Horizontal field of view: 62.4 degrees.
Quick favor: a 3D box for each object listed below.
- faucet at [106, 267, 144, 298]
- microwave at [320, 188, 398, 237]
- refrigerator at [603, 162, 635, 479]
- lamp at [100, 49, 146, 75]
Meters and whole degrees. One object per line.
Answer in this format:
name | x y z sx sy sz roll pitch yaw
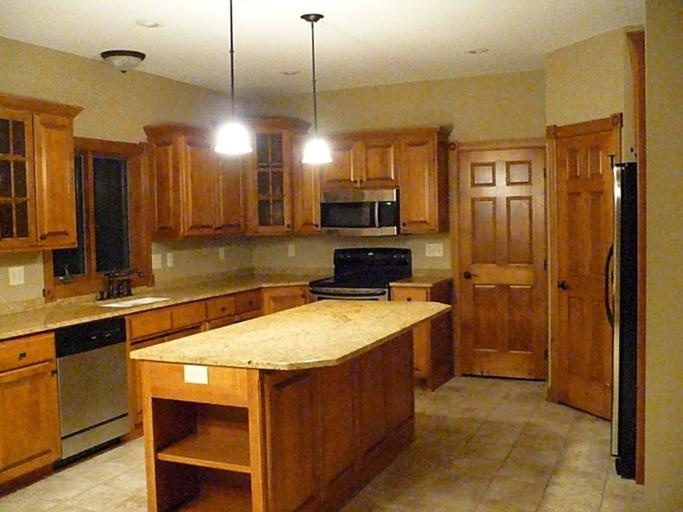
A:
faucet | -1.900 0.247 4.946 0.219 0.293 0.412 0 -1 22
microwave | 0.180 -0.457 5.710 0.921 0.535 0.462 1 1 25
refrigerator | 1.642 0.382 3.271 0.143 1.828 0.211 1 9 15
lamp | -1.824 -1.639 4.704 0.189 0.080 0.186 0 -5 -34
